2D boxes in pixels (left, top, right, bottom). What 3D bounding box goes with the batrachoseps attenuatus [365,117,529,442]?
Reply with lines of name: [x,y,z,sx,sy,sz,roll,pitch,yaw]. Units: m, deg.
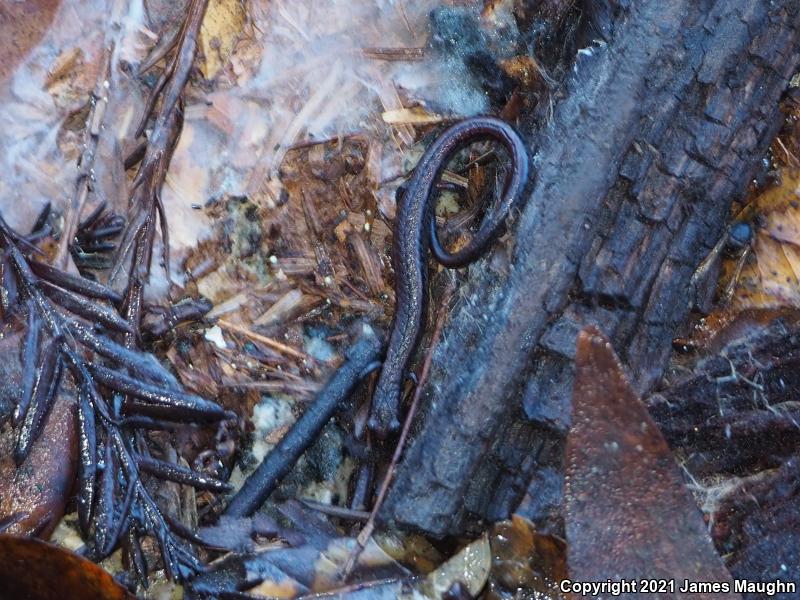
batrachoseps attenuatus: [0.149,-0.268,5.659,0.676,2.102,0.276,14,-2,21]
